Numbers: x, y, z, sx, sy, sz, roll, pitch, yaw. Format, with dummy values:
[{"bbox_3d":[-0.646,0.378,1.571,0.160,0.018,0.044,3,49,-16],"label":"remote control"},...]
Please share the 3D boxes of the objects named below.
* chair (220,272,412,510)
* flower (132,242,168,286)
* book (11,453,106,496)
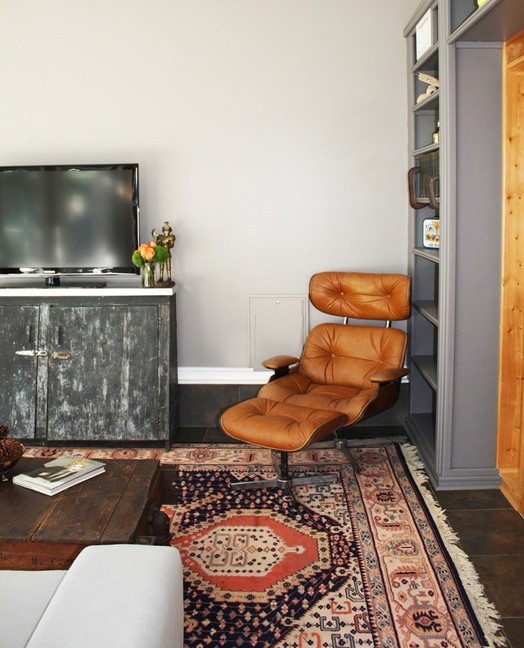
[{"bbox_3d":[0.334,0.287,2.953,0.817,0.919,1.263,6,14,31],"label":"chair"},{"bbox_3d":[-0.691,-0.350,3.360,0.221,0.235,0.221,-1,7,18],"label":"flower"},{"bbox_3d":[-0.735,0.551,2.005,0.255,0.044,0.243,0,10,24],"label":"book"}]
